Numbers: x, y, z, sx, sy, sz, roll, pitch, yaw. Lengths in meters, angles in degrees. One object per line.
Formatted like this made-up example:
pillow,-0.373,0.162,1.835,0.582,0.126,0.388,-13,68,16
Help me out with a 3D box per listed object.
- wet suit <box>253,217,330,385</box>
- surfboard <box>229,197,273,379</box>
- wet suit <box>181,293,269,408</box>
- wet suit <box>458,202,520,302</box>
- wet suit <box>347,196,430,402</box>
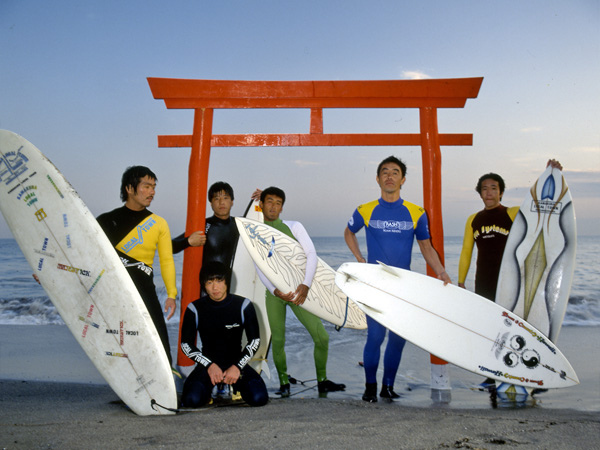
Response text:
wet suit,-0.093,0.858,6.828,0.787,1.809,0.657,0,5,2
surfboard,-0.513,0.701,7.087,0.316,1.945,0.638,-10,9,-35
wet suit,-0.769,1.102,5.922,0.747,1.205,0.815,-3,3,-12
wet suit,2.135,0.302,7.005,0.638,1.094,0.492,1,5,20
wet suit,0.937,0.801,6.458,0.826,2.147,0.661,-1,5,-3
